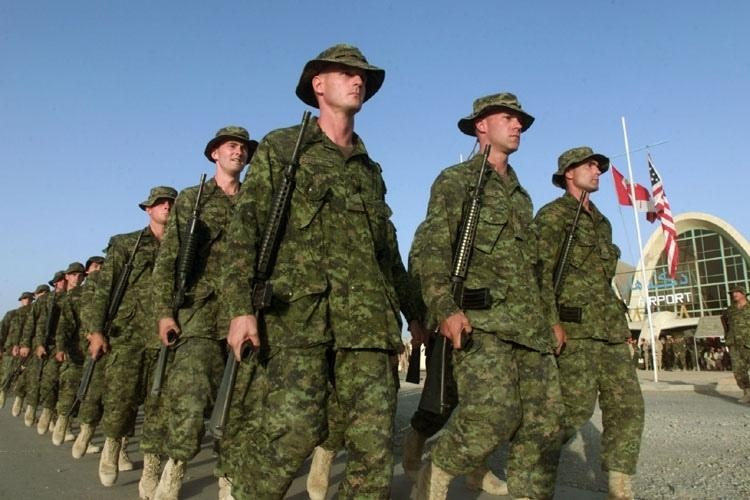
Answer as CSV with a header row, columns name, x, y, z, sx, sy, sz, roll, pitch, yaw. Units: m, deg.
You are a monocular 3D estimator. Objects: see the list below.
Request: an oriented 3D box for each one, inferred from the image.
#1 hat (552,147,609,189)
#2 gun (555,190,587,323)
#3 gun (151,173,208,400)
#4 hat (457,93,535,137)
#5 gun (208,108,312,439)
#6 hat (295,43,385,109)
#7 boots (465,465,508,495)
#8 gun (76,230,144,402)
name,x,y,z,sx,sy,sz,roll,pitch,yaw
hat,2.642,-1.089,8.292,0.704,0.405,0.731,-5,-16,11
gun,2.366,0.078,7.797,0.481,1.619,0.203,-5,-15,11
gun,-2.247,0.582,7.527,0.293,2.763,0.677,17,-19,-18
hat,1.427,-1.526,7.339,0.885,0.349,0.888,-2,-15,-3
gun,-1.007,0.168,5.826,0.977,2.884,0.299,-9,-16,25
hat,-0.326,-1.666,6.212,0.852,0.494,0.821,-1,-15,-5
boots,1.304,2.701,7.546,0.388,0.136,0.245,5,1,44
gun,-3.722,1.063,9.263,0.288,2.881,0.715,21,-2,-12
